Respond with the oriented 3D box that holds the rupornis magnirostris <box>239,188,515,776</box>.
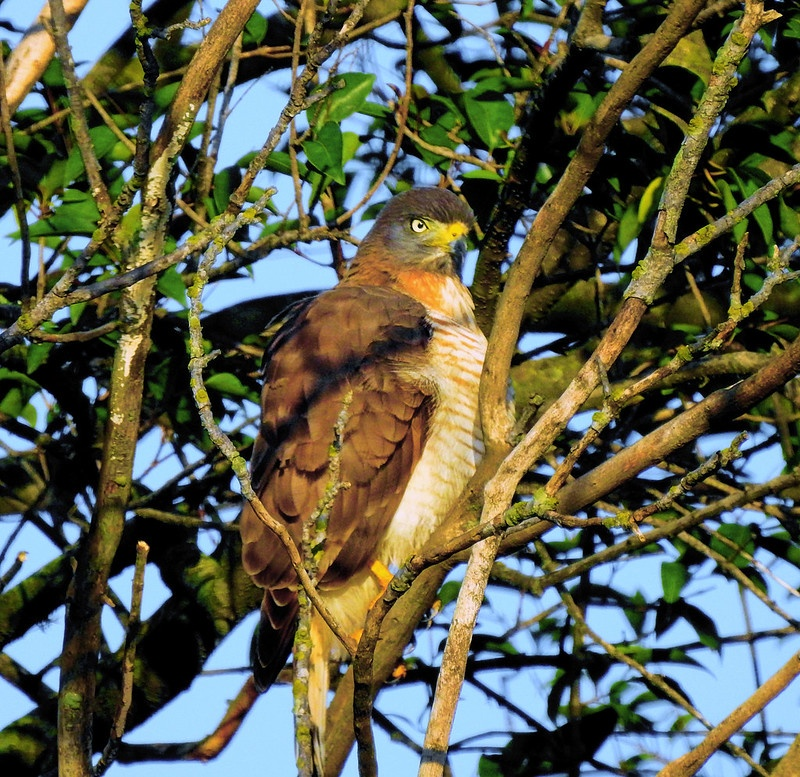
[{"bbox_3d":[-0.089,0.325,6.434,0.939,2.077,0.806,-13,-36,5],"label":"rupornis magnirostris"}]
